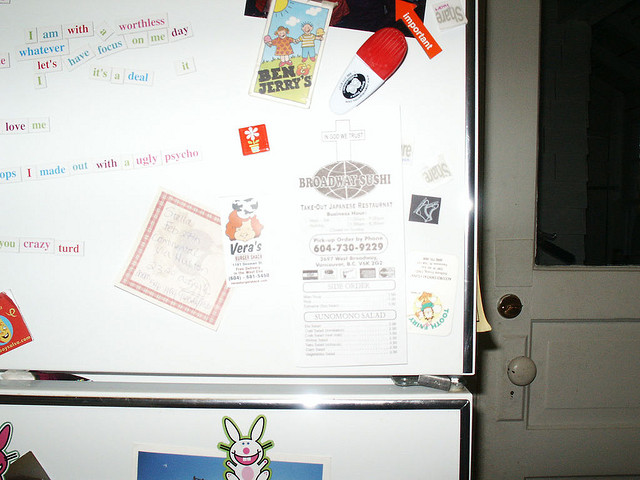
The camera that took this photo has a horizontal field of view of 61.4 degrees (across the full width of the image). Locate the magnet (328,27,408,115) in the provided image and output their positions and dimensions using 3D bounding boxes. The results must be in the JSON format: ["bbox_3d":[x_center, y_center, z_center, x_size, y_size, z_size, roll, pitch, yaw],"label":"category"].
[{"bbox_3d":[0.130,-0.439,1.441,0.137,0.274,0.061,47,2,19],"label":"magnet"}]
